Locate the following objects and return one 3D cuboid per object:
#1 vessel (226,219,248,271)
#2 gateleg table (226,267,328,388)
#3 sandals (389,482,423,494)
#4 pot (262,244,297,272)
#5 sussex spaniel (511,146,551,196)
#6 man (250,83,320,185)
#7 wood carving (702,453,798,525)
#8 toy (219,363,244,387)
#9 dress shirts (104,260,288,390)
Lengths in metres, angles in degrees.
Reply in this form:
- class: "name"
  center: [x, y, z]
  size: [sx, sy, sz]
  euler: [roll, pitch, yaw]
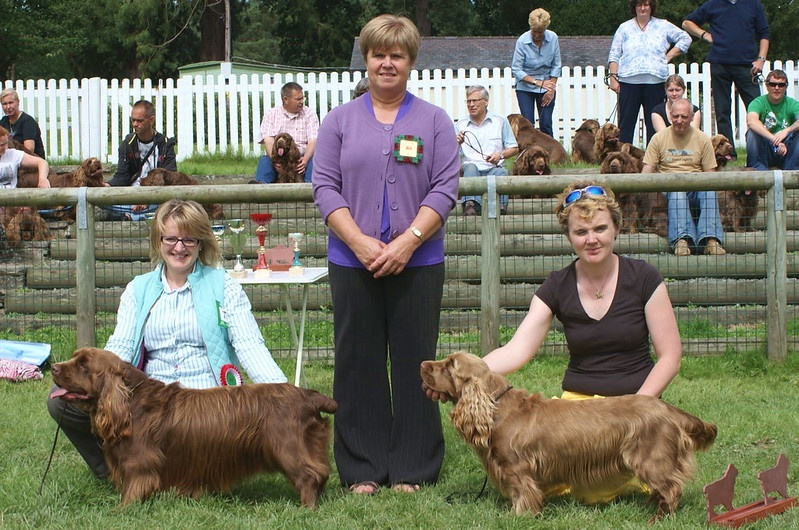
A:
- class: "vessel"
  center: [-1.879, -0.210, 13.224]
  size: [0.201, 0.588, 0.211]
  euler: [0, 3, 13]
- class: "gateleg table"
  center: [-1.414, 0.650, 13.311]
  size: [1.109, 1.232, 1.185]
  euler: [0, 4, -4]
- class: "sandals"
  center: [0.006, 2.147, 11.711]
  size: [0.315, 0.062, 0.172]
  euler: [-2, 6, -6]
- class: "pot"
  center: [-1.416, -0.070, 13.174]
  size: [0.358, 0.390, 0.218]
  euler: [0, -13, -1]
- class: "sussex spaniel"
  center: [1.870, -1.346, 17.317]
  size: [0.515, 0.642, 0.967]
  euler: [-2, 13, -3]
- class: "man"
  center: [-1.768, -1.911, 17.717]
  size: [1.003, 1.540, 1.187]
  euler: [9, 17, 38]
- class: "wood carving"
  center: [3.407, 2.147, 11.565]
  size: [1.346, 0.766, 0.396]
  euler: [-2, -5, -32]
- class: "toy"
  center: [-1.762, 1.068, 11.820]
  size: [0.189, 0.225, 0.052]
  euler: [2, -7, -39]
- class: "dress shirts"
  center: [-2.261, 0.649, 12.004]
  size: [2.021, 1.498, 0.642]
  euler: [-3, -7, 1]
